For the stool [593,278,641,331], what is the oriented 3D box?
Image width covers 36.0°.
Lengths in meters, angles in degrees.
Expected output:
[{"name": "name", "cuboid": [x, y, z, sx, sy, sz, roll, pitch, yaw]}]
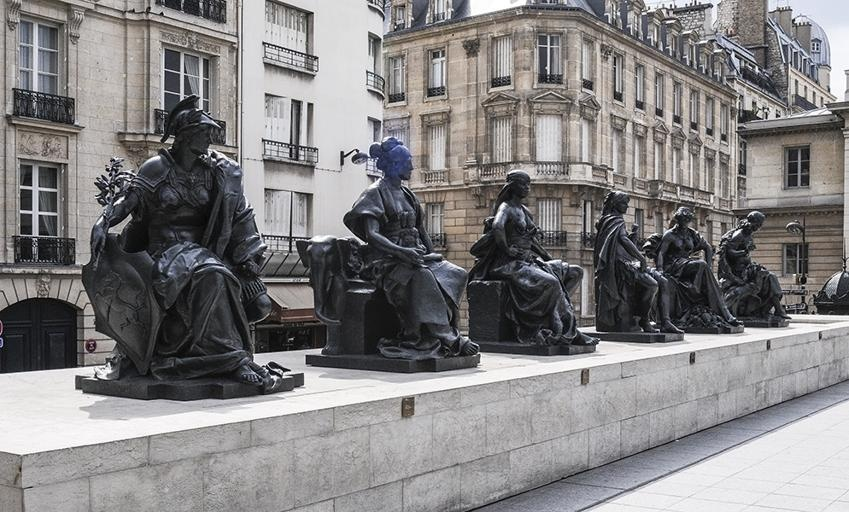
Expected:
[{"name": "stool", "cuboid": [4.902, 1.235, 33.251, 0.989, 1.666, 1.298, -7, 7, -34]}]

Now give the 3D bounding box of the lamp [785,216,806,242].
[{"name": "lamp", "cuboid": [16.989, -1.235, 60.097, 0.935, 0.605, 1.234, 8, -15, 37]}]
